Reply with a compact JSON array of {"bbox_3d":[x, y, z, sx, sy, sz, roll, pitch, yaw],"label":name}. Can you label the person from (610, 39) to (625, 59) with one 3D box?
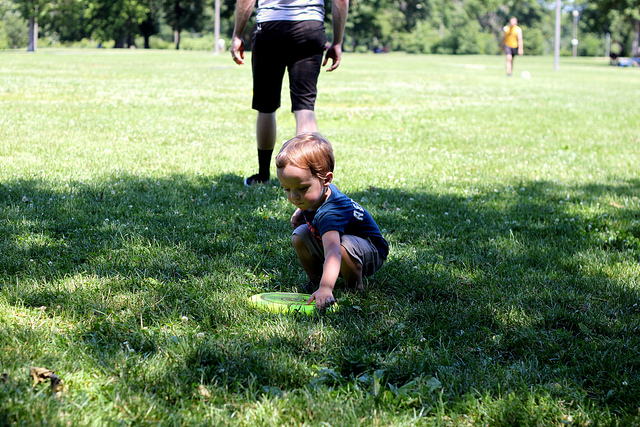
[{"bbox_3d":[23.803,-13.397,68.947,0.764,1.202,2.528,2,11,5],"label":"person"}]
